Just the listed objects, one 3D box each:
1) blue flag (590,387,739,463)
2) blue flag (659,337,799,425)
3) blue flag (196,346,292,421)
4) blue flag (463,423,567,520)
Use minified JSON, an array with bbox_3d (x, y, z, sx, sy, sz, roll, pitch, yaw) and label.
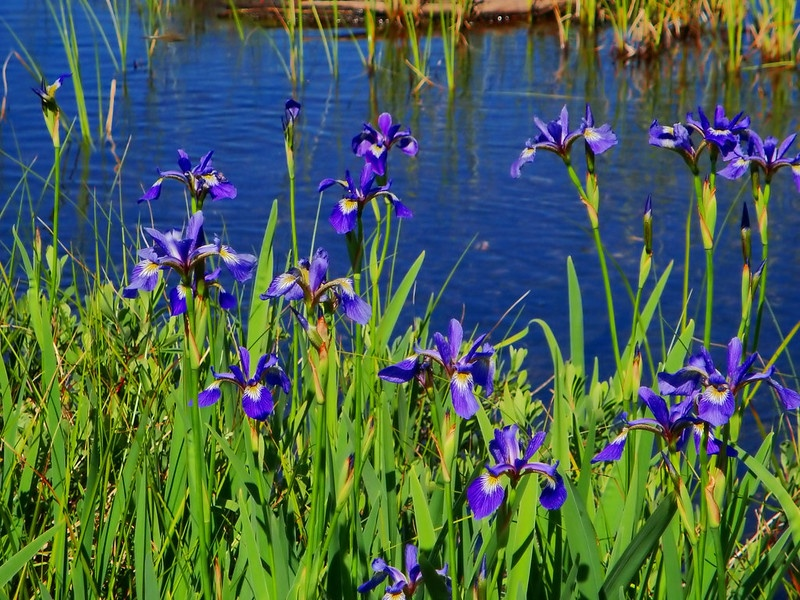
[{"bbox_3d":[1.149,0.522,4.811,0.484,0.606,0.386,-3,8,-27],"label":"blue flag"},{"bbox_3d":[1.392,0.353,4.761,0.564,0.396,0.261,-1,10,-2],"label":"blue flag"},{"bbox_3d":[-0.685,0.395,5.054,0.377,0.375,0.347,1,11,8],"label":"blue flag"},{"bbox_3d":[0.473,0.694,4.616,0.227,0.590,0.407,-2,10,5],"label":"blue flag"}]
